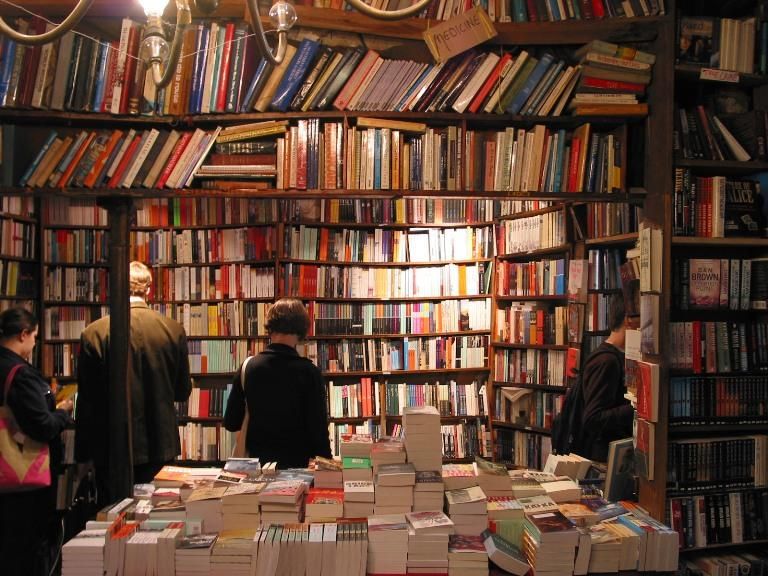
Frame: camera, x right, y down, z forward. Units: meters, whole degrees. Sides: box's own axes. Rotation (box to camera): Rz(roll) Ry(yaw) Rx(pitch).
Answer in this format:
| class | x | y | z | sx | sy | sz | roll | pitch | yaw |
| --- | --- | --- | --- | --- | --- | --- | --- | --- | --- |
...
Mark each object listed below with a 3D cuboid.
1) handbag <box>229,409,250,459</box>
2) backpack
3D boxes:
| class | x | y | z | sx | sy | sz | roll | pitch | yaw |
| --- | --- | --- | --- | --- | --- | --- | --- | --- | --- |
| handbag | -0.853 | 0.884 | 4.729 | 0.078 | 0.333 | 0.334 | 2 | -5 | -7 |
| backpack | 1.340 | 0.739 | 5.245 | 0.465 | 0.826 | 0.745 | 8 | -5 | 10 |
